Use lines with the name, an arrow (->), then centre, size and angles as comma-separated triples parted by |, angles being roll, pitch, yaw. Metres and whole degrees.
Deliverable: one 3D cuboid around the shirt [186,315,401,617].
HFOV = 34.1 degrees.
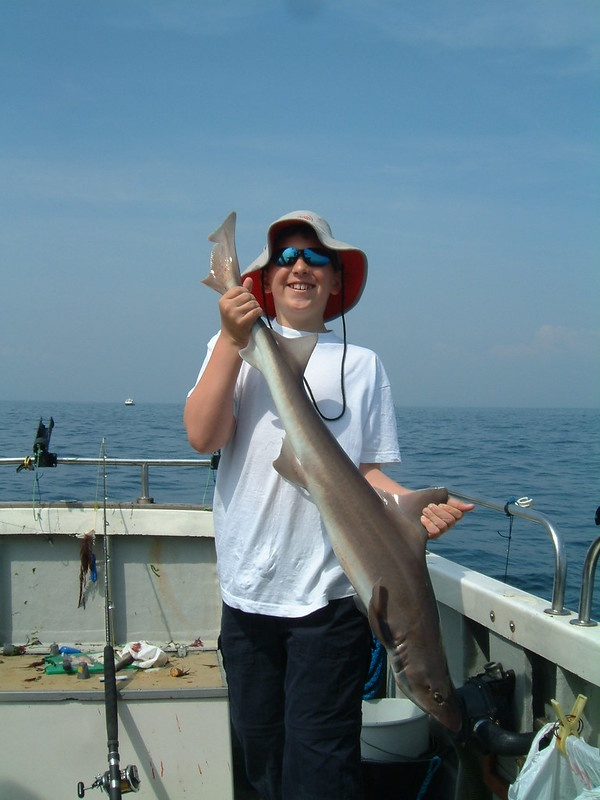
shirt -> -0.080, 0.226, 3.444 | 0.677, 0.993, 1.010 | -3, 16, -35
